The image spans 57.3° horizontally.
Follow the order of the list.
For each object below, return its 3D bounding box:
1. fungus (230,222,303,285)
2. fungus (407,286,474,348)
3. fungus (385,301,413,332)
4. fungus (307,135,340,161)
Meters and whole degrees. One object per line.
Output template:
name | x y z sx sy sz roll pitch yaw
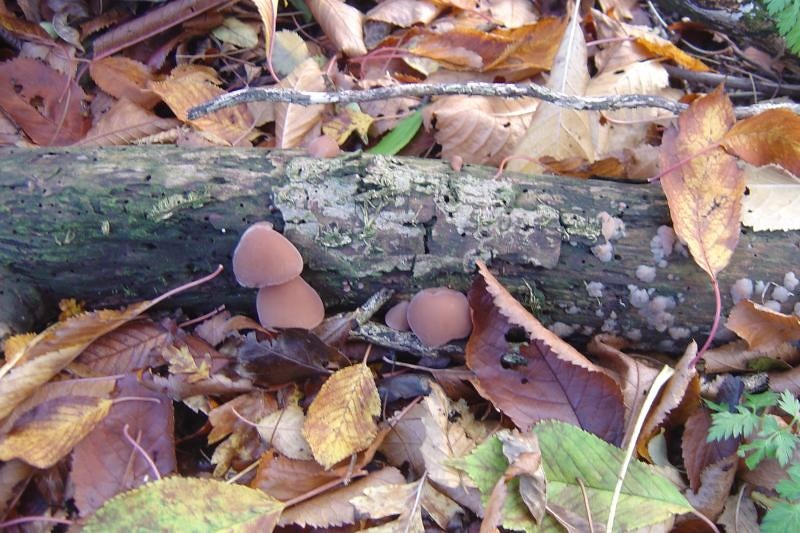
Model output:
fungus | -0.764 -0.072 4.172 0.380 0.333 0.170 -5 15 -9
fungus | 0.226 0.291 4.255 0.370 0.310 0.148 -2 15 2
fungus | -0.021 0.289 4.340 0.134 0.173 0.050 11 -8 17
fungus | -0.463 -0.715 4.375 0.204 0.120 0.152 -4 15 -6
